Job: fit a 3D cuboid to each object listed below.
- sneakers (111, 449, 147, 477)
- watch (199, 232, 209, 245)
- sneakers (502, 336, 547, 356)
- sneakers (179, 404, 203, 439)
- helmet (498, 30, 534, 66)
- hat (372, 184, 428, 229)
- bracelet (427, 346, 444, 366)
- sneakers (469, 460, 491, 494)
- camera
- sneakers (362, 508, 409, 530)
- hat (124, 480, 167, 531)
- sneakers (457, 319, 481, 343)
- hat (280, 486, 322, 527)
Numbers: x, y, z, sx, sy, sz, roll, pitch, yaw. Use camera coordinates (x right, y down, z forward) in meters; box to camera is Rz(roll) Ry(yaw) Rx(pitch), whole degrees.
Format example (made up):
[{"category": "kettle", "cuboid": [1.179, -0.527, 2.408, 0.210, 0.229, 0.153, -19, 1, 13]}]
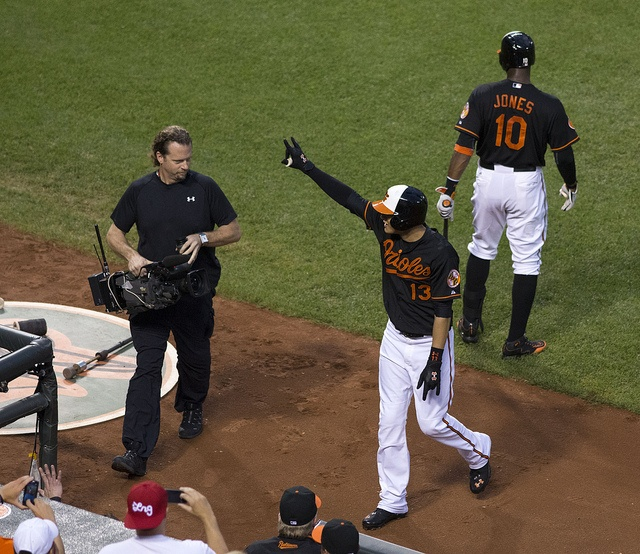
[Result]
[{"category": "sneakers", "cuboid": [-1.403, 1.427, 7.973, 0.145, 0.157, 0.316, 18, -12, 32]}, {"category": "watch", "cuboid": [-0.920, -0.301, 8.194, 0.068, 0.088, 0.091, -11, 36, -17]}, {"category": "sneakers", "cuboid": [1.876, 0.633, 9.803, 0.449, 0.151, 0.162, -5, 18, -10]}, {"category": "sneakers", "cuboid": [-1.048, 1.186, 8.536, 0.137, 0.132, 0.341, 1, 18, 2]}, {"category": "helmet", "cuboid": [1.754, -2.004, 9.320, 0.317, 0.307, 0.349, -16, 25, -15]}, {"category": "hat", "cuboid": [0.561, -0.523, 7.491, 0.454, 0.231, 0.283, 3, 31, -7]}, {"category": "bracelet", "cuboid": [0.818, 0.551, 7.467, 0.097, 0.117, 0.074, 6, 20, 4]}, {"category": "sneakers", "cuboid": [1.200, 1.521, 7.950, 0.127, 0.251, 0.115, 9, 5, -43]}, {"category": "camera", "cuboid": [-1.342, -0.011, 8.065, 0.862, 0.488, 0.272, -8, 7, 15]}, {"category": "sneakers", "cuboid": [0.476, 1.745, 7.650, 0.333, 0.115, 0.107, -7, 26, -19]}, {"category": "hat", "cuboid": [-1.044, 1.391, 6.416, 0.240, 0.165, 0.289, 7, 41, 4]}, {"category": "sneakers", "cuboid": [1.410, 0.524, 9.999, 0.129, 0.181, 0.295, -2, 22, -3]}, {"category": "hat", "cuboid": [-0.126, 1.377, 6.503, 0.289, 0.173, 0.343, 5, 24, 8]}]
